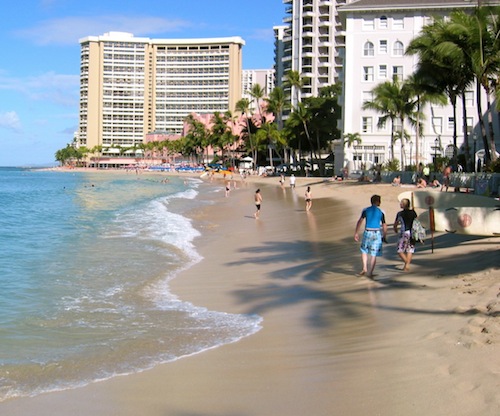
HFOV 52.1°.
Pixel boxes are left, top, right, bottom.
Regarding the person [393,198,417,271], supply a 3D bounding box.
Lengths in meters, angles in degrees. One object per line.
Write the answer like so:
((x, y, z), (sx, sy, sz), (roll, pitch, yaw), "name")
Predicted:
((3.620, 0.593, 11.669), (0.498, 1.657, 1.164), (-2, 6, 18), "person")

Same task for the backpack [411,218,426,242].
((3.758, 0.499, 11.296), (0.279, 0.559, 0.392), (-1, 6, 21), "backpack")
